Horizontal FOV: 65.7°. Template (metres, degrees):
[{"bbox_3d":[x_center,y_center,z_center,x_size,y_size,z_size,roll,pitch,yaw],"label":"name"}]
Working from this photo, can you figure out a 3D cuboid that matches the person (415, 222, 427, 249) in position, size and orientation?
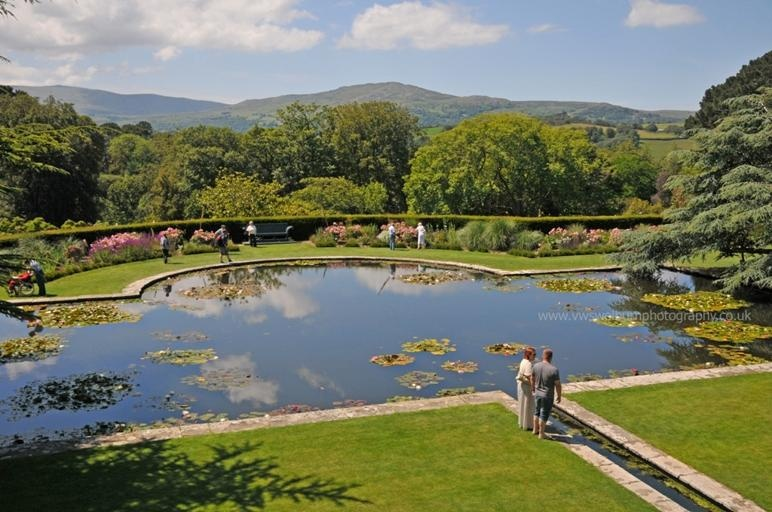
[{"bbox_3d":[1.988,-1.173,34.403,0.493,1.381,1.169,0,12,2],"label":"person"}]

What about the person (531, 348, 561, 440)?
[{"bbox_3d":[3.460,3.017,13.176,0.580,1.906,0.503,-7,14,-28],"label":"person"}]

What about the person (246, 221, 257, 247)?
[{"bbox_3d":[-8.018,-1.278,35.502,0.494,1.358,1.088,-4,13,-17],"label":"person"}]

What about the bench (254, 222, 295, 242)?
[{"bbox_3d":[-7.143,-1.525,38.098,2.246,1.175,1.283,-3,12,-13],"label":"bench"}]
